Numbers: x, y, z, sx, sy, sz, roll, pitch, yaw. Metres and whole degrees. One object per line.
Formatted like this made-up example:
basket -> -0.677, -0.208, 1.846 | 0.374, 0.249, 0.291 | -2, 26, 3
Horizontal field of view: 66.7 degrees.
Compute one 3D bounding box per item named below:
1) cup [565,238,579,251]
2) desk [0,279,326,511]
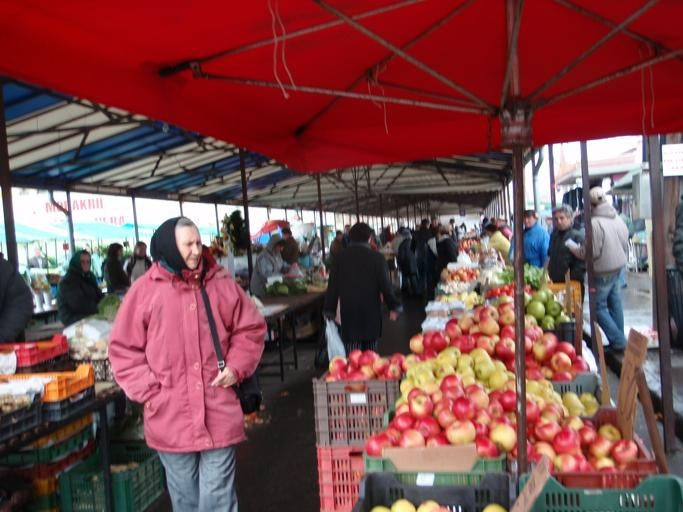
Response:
cup -> 3.150, -0.155, 7.048 | 0.069, 0.078, 0.130 | 6, 29, -37
desk -> -1.420, 1.169, 4.124 | 1.042, 0.845, 1.732 | -1, 1, 11
